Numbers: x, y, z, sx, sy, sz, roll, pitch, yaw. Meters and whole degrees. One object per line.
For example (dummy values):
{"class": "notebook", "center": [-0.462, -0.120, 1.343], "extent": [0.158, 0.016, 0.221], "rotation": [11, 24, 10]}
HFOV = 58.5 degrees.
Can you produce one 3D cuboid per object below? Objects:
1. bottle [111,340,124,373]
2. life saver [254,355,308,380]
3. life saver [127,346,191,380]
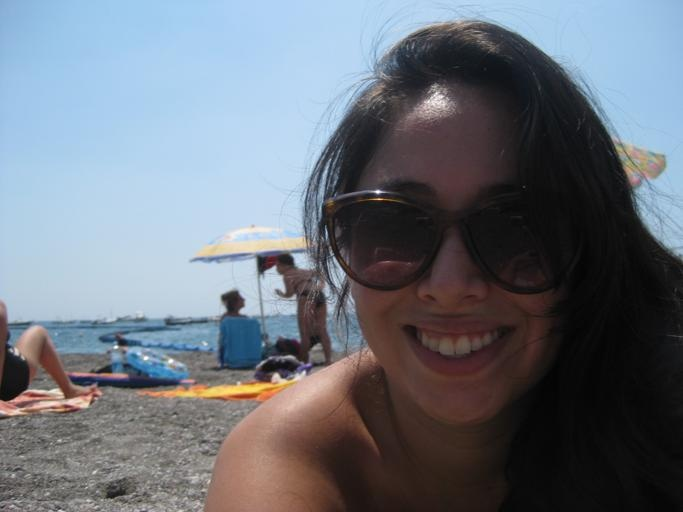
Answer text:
{"class": "bottle", "center": [-2.584, 1.190, 7.068], "extent": [0.115, 0.321, 0.330], "rotation": [3, 0, -29]}
{"class": "life saver", "center": [-0.648, 1.224, 6.697], "extent": [0.353, 0.143, 0.329], "rotation": [-3, -5, 42]}
{"class": "life saver", "center": [-2.100, 1.237, 7.015], "extent": [0.585, 0.345, 0.722], "rotation": [3, 0, -44]}
